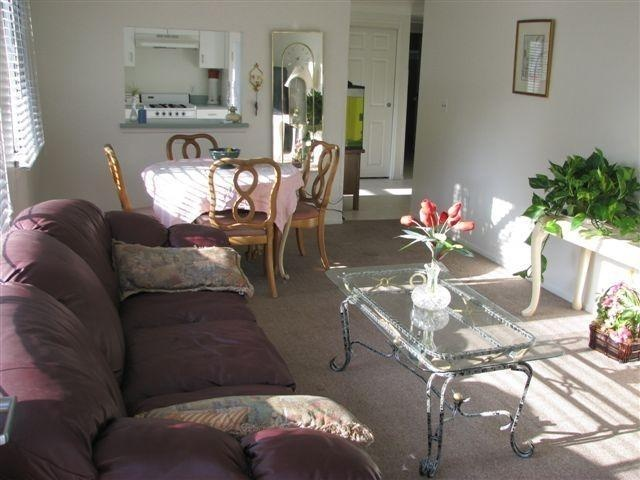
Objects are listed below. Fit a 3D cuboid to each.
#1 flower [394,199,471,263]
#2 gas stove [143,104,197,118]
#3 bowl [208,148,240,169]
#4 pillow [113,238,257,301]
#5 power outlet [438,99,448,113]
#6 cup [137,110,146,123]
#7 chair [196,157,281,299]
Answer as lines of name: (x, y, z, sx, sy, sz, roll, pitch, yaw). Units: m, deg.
flower: (0.913, -0.050, 3.852, 0.532, 0.501, 0.524, -13, 24, -33)
gas stove: (-2.116, -1.843, 6.929, 0.696, 0.167, 0.271, -3, 18, -18)
bowl: (-0.783, -0.714, 3.951, 0.248, 0.155, 0.244, 1, 14, 0)
pillow: (-0.795, 0.160, 2.713, 0.522, 0.107, 0.414, 0, 37, -20)
power outlet: (1.378, -1.507, 5.374, 0.041, 0.114, 0.175, -2, 1, -19)
cup: (-1.842, -1.294, 4.998, 0.086, 0.145, 0.235, -4, 18, -20)
chair: (-0.672, -0.199, 3.896, 0.604, 1.183, 0.698, -3, 27, -15)
